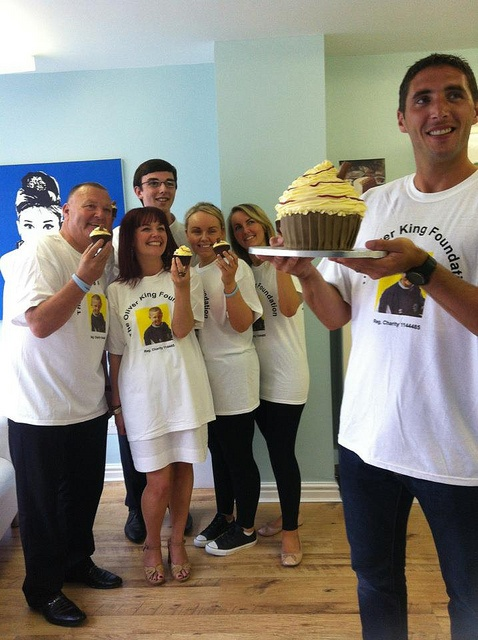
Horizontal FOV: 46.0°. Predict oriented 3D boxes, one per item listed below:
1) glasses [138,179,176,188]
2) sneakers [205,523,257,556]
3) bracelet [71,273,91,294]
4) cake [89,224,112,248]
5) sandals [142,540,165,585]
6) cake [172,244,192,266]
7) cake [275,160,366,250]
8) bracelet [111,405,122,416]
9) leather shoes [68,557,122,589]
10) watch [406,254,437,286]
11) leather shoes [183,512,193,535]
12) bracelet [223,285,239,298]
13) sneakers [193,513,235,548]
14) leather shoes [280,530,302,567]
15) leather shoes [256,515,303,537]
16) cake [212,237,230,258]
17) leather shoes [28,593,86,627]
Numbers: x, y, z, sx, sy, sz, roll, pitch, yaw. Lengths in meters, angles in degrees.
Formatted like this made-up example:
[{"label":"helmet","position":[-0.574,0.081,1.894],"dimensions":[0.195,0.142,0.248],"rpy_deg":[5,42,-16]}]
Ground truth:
[{"label":"glasses","position":[-0.371,-0.631,2.617],"dimensions":[0.156,0.050,0.094],"rpy_deg":[-4,6,-14]},{"label":"sneakers","position":[-0.028,0.993,2.562],"dimensions":[0.270,0.099,0.092],"rpy_deg":[1,0,-28]},{"label":"bracelet","position":[-0.543,-0.126,1.977],"dimensions":[0.065,0.030,0.053],"rpy_deg":[37,-3,-22]},{"label":"cake","position":[-0.494,-0.293,1.971],"dimensions":[0.076,0.057,0.073],"rpy_deg":[1,10,27]},{"label":"sandals","position":[-0.339,0.986,2.234],"dimensions":[0.066,0.072,0.185],"rpy_deg":[1,-12,-10]},{"label":"cake","position":[-0.210,-0.246,2.143],"dimensions":[0.088,0.075,0.082],"rpy_deg":[0,2,-33]},{"label":"cake","position":[0.203,-0.315,1.570],"dimensions":[0.257,0.225,0.248],"rpy_deg":[1,8,4]},{"label":"bracelet","position":[-0.519,0.385,2.385],"dimensions":[0.041,0.045,0.020],"rpy_deg":[-7,-12,0]},{"label":"leather shoes","position":[-0.585,1.045,2.334],"dimensions":[0.265,0.089,0.090],"rpy_deg":[0,-5,9]},{"label":"watch","position":[0.389,-0.108,1.201],"dimensions":[0.032,0.049,0.049],"rpy_deg":[40,61,21]},{"label":"leather shoes","position":[-0.236,0.988,2.741],"dimensions":[0.043,0.045,0.114],"rpy_deg":[2,14,1]},{"label":"bracelet","position":[-0.034,-0.116,2.256],"dimensions":[0.047,0.020,0.054],"rpy_deg":[-10,14,21]},{"label":"sneakers","position":[-0.119,0.981,2.601],"dimensions":[0.076,0.089,0.229],"rpy_deg":[19,0,34]},{"label":"leather shoes","position":[0.222,0.983,2.378],"dimensions":[0.060,0.041,0.165],"rpy_deg":[-2,0,5]},{"label":"leather shoes","position":[0.213,0.997,2.729],"dimensions":[0.243,0.075,0.086],"rpy_deg":[-2,45,-37]},{"label":"cake","position":[-0.070,-0.280,2.166],"dimensions":[0.075,0.054,0.070],"rpy_deg":[-1,-4,12]},{"label":"leather shoes","position":[-0.661,1.056,2.071],"dimensions":[0.222,0.077,0.081],"rpy_deg":[-2,-8,29]}]
